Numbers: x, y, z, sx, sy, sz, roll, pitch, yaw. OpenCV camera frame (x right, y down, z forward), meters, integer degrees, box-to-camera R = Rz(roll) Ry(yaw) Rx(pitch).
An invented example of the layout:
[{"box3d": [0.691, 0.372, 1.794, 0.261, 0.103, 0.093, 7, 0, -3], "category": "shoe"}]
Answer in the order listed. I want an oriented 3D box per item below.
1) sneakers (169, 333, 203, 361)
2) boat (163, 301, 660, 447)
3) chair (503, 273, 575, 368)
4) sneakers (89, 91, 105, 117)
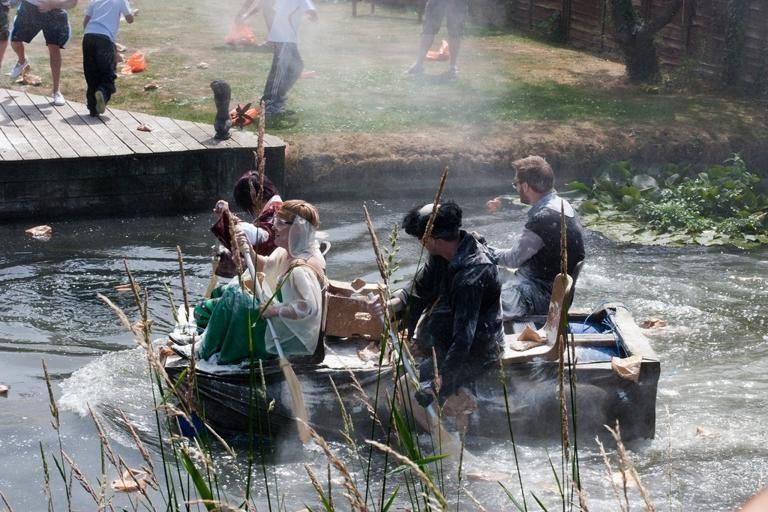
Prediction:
[{"box3d": [-2.149, 0.976, 12.164, 0.376, 0.135, 0.276, 22, 4, -14], "category": "sneakers"}, {"box3d": [0.589, 1.397, 12.706, 4.429, 1.018, 2.123, 0, 4, -6], "category": "boat"}, {"box3d": [1.683, 0.663, 12.741, 0.881, 0.863, 1.014, -3, 8, 8], "category": "chair"}, {"box3d": [-4.390, -2.356, 17.269, 0.167, 0.450, 0.189, 4, 19, 9], "category": "sneakers"}]
